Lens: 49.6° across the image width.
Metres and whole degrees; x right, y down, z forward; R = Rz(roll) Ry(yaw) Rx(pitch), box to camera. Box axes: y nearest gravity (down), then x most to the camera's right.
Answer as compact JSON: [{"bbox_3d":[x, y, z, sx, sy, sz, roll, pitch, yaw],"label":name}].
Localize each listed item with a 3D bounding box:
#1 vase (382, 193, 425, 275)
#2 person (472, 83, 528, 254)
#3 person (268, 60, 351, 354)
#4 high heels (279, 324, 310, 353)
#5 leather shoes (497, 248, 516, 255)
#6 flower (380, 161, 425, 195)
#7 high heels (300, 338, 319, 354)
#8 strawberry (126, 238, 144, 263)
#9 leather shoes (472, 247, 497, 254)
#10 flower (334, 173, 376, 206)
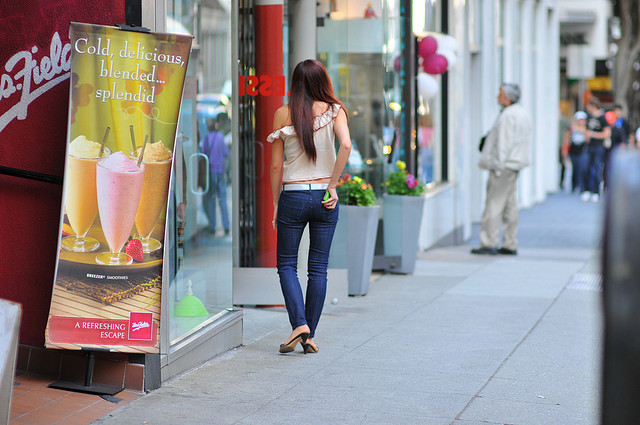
[{"bbox_3d":[0.949,0.243,7.889,0.461,0.917,0.195,0,5,5],"label":"vase"},{"bbox_3d":[2.420,-0.446,9.207,0.708,2.019,0.469,1,5,16],"label":"person"},{"bbox_3d":[-0.081,-0.052,5.000,0.587,2.141,0.355,-1,5,-3],"label":"person"},{"bbox_3d":[-0.186,0.907,4.922,0.110,0.142,0.321,14,-35,-37],"label":"high heels"},{"bbox_3d":[2.525,0.514,9.383,0.275,0.110,0.092,3,4,42],"label":"leather shoes"},{"bbox_3d":[0.964,-0.445,8.030,0.402,0.352,0.408,3,8,35],"label":"flower"},{"bbox_3d":[-0.076,0.969,4.993,0.060,0.081,0.190,1,8,18],"label":"high heels"},{"bbox_3d":[-1.122,0.227,4.225,0.109,0.134,0.101,38,-23,-10],"label":"strawberry"},{"bbox_3d":[2.226,0.505,9.383,0.318,0.131,0.119,6,6,28],"label":"leather shoes"},{"bbox_3d":[0.336,-0.222,6.785,0.328,0.246,0.326,-3,11,-42],"label":"flower"}]
